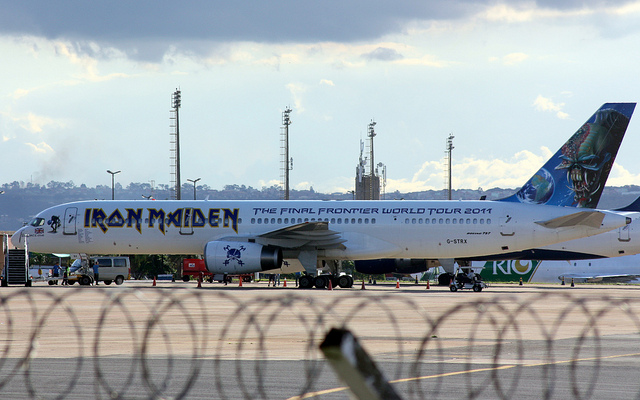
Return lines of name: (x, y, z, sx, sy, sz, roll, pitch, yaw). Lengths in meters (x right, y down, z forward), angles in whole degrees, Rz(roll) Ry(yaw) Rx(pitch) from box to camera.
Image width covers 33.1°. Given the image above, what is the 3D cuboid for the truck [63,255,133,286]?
truck: (-13.837, 4.429, 68.094, 3.714, 1.258, 1.969, 1, -4, -24)
